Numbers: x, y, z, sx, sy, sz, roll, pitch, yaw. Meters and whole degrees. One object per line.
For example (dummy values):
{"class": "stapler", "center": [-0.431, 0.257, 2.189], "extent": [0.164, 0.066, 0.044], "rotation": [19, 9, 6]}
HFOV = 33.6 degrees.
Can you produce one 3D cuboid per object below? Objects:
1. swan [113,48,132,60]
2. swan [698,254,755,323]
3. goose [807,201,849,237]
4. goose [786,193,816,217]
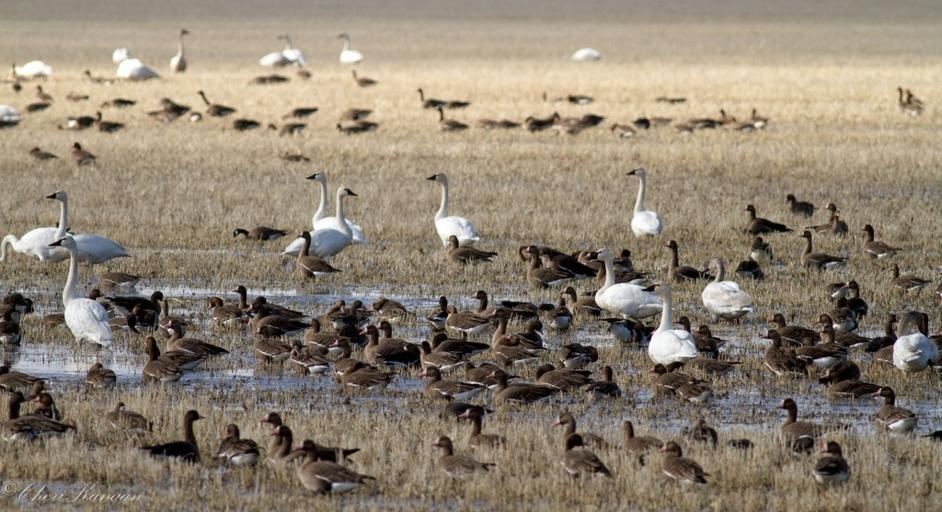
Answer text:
{"class": "swan", "center": [-20.414, -11.787, 90.709], "extent": [1.104, 0.764, 1.333], "rotation": [1, 2, -6]}
{"class": "swan", "center": [8.804, 1.162, 52.467], "extent": [1.617, 2.138, 2.717], "rotation": [-14, 8, -18]}
{"class": "goose", "center": [13.953, -1.311, 61.427], "extent": [1.104, 1.164, 1.843], "rotation": [-1, -7, -39]}
{"class": "goose", "center": [13.962, -2.116, 65.025], "extent": [1.649, 1.054, 0.766], "rotation": [-4, -2, 9]}
